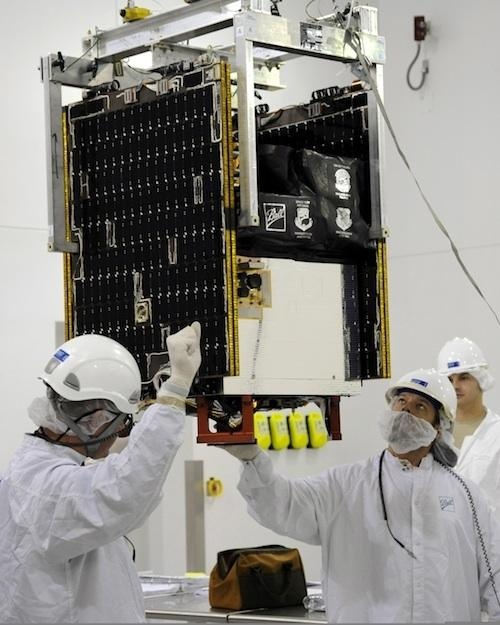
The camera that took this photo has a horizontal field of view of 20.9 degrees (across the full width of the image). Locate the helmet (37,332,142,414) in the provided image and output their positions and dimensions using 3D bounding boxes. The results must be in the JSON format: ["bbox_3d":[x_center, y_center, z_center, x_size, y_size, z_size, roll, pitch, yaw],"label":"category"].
[{"bbox_3d":[-0.590,0.211,4.854,0.324,0.241,0.242,-1,8,-31],"label":"helmet"}]

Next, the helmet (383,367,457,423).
[{"bbox_3d":[0.738,0.350,5.789,0.257,0.135,0.193,40,-33,-14],"label":"helmet"}]

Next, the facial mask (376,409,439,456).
[{"bbox_3d":[0.669,0.494,5.699,0.150,0.184,0.217,-3,4,-43],"label":"facial mask"}]

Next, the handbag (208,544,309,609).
[{"bbox_3d":[0.031,1.272,6.487,0.401,0.243,0.265,9,-16,-36],"label":"handbag"}]
